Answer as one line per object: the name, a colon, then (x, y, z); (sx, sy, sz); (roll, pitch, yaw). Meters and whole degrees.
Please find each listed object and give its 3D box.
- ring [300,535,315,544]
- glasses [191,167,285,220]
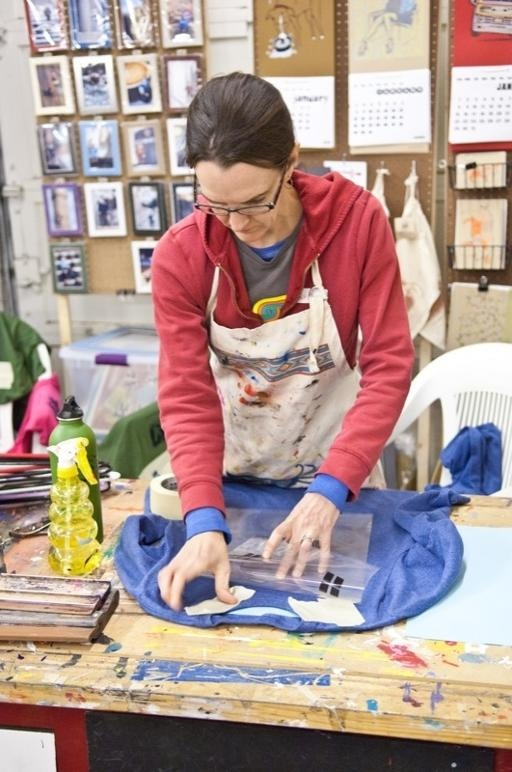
ring: (0.081, 0.235, 0.999); (0.012, 0.006, 0.015); (11, -28, 0)
glasses: (-0.034, -0.291, 1.005); (0.154, 0.065, 0.108); (-1, 14, 11)
